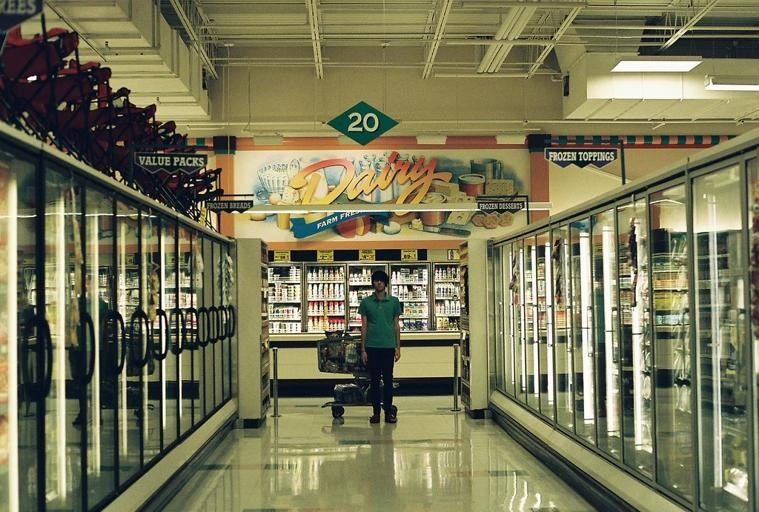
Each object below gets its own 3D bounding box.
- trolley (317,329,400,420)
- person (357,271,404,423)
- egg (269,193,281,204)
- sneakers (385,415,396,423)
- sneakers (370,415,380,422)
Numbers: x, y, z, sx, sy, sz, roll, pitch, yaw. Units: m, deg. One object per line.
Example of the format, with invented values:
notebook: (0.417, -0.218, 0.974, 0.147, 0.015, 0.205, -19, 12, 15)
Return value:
trolley: (-0.467, 1.642, 13.132, 1.418, 1.394, 0.916, 2, -4, -3)
person: (0.009, 1.365, 12.644, 0.560, 1.875, 0.477, -1, -5, -1)
egg: (-1.975, -1.094, 17.244, 0.183, 0.185, 0.179, -20, -4, -34)
sneakers: (0.156, 2.255, 12.780, 0.141, 0.138, 0.087, 1, -5, -7)
sneakers: (-0.062, 2.253, 12.696, 0.123, 0.121, 0.081, 2, -11, 8)
